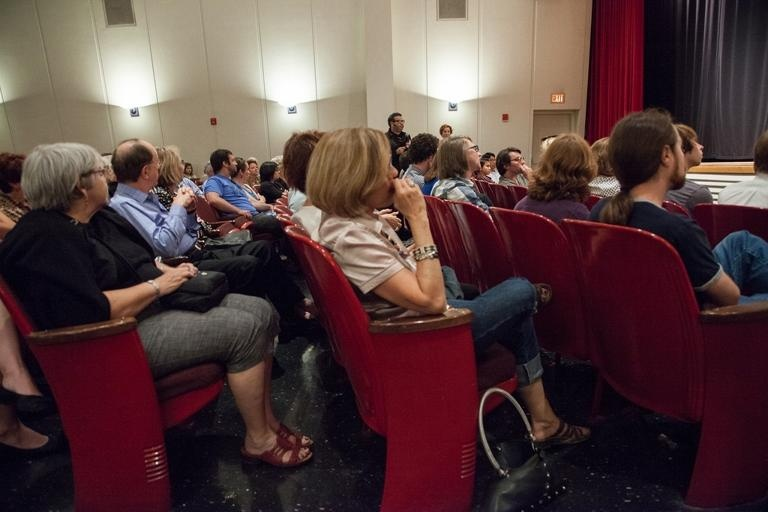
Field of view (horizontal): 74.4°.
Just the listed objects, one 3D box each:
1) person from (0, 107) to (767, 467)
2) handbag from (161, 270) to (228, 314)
[{"bbox_3d":[-0.180,0.182,2.223,2.999,1.483,0.854,-7,14,-10],"label":"person"},{"bbox_3d":[-0.862,0.185,2.328,0.174,0.123,0.247,9,-2,-6],"label":"handbag"}]
